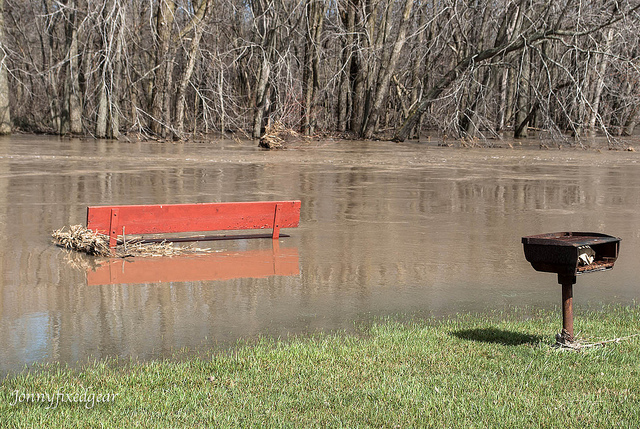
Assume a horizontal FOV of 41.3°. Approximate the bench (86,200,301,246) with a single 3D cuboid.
[{"bbox_3d":[-2.261,0.204,15.693,3.776,0.638,0.588,-2,-8,-21],"label":"bench"}]
